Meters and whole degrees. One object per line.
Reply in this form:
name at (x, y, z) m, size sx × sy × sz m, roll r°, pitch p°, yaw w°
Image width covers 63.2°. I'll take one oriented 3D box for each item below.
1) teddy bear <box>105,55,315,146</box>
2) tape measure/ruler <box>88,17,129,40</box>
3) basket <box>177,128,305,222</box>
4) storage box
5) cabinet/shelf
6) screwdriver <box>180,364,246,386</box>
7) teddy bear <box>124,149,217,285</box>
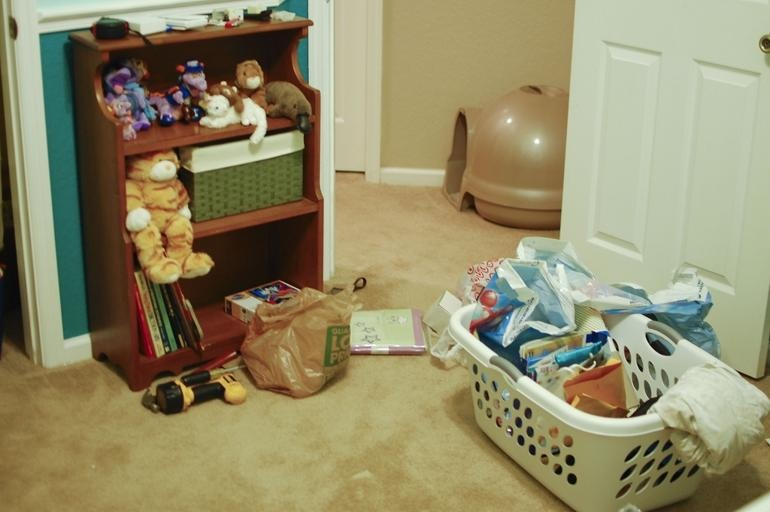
teddy bear at (-0.790, -0.666, 2.402) m, size 0.903 × 0.309 × 0.611 m, roll -21°, pitch 33°, yaw -36°
tape measure/ruler at (-0.889, -0.741, 2.016) m, size 0.092 × 0.044 × 0.092 m, roll 2°, pitch 22°, yaw 4°
basket at (-0.525, -0.291, 2.322) m, size 0.540 × 0.321 × 0.325 m, roll -15°, pitch 31°, yaw -28°
storage box at (-0.567, -0.381, 2.466) m, size 0.542 × 0.338 × 0.459 m, roll -10°, pitch 21°, yaw -34°
cabinet/shelf at (-0.905, -0.116, 2.661) m, size 1.118 × 1.678 × 0.639 m, roll -13°, pitch 23°, yaw -34°
screwdriver at (-0.623, 0.434, 2.276) m, size 0.305 × 0.052 × 0.053 m, roll -4°, pitch -5°, yaw -42°
teddy bear at (-0.762, -0.132, 2.159) m, size 0.247 × 0.424 × 0.180 m, roll -18°, pitch 30°, yaw -33°
